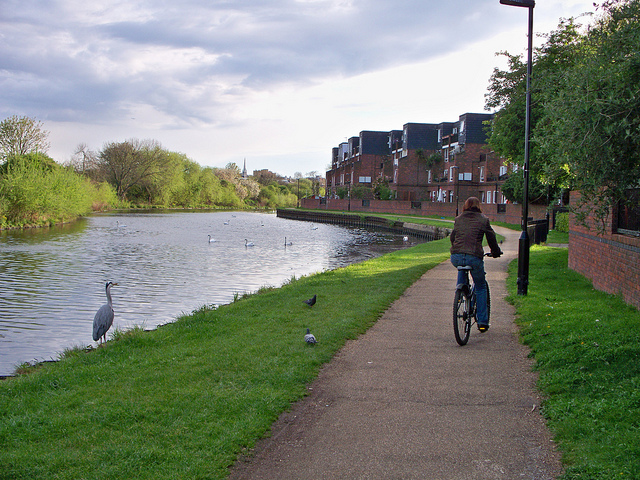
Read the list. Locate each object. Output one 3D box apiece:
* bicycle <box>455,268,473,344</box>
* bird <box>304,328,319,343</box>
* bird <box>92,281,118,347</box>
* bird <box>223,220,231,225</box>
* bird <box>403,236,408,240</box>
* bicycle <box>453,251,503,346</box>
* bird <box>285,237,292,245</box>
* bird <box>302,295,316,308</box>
[{"bbox_3d":[2.823,1.318,12.401,0.284,1.522,0.948,1,14,14],"label":"bicycle"},{"bbox_3d":[-0.188,1.929,12.642,0.163,0.218,0.301,-2,14,-12],"label":"bird"},{"bbox_3d":[-4.730,1.636,13.800,0.364,1.387,0.725,5,8,22],"label":"bird"},{"bbox_3d":[-10.139,-1.888,68.334,0.830,0.852,0.295,8,42,-8],"label":"bird"},{"bbox_3d":[5.988,-0.109,43.757,0.178,0.246,0.107,-1,-2,-5],"label":"bird"},{"bbox_3d":[2.905,1.273,12.492,0.344,1.594,1.220,3,15,20],"label":"bicycle"},{"bbox_3d":[-2.019,0.100,40.256,0.436,0.619,1.138,-2,14,-2],"label":"bird"},{"bbox_3d":[-0.251,1.517,15.773,0.306,0.252,0.377,-2,14,-3],"label":"bird"}]
